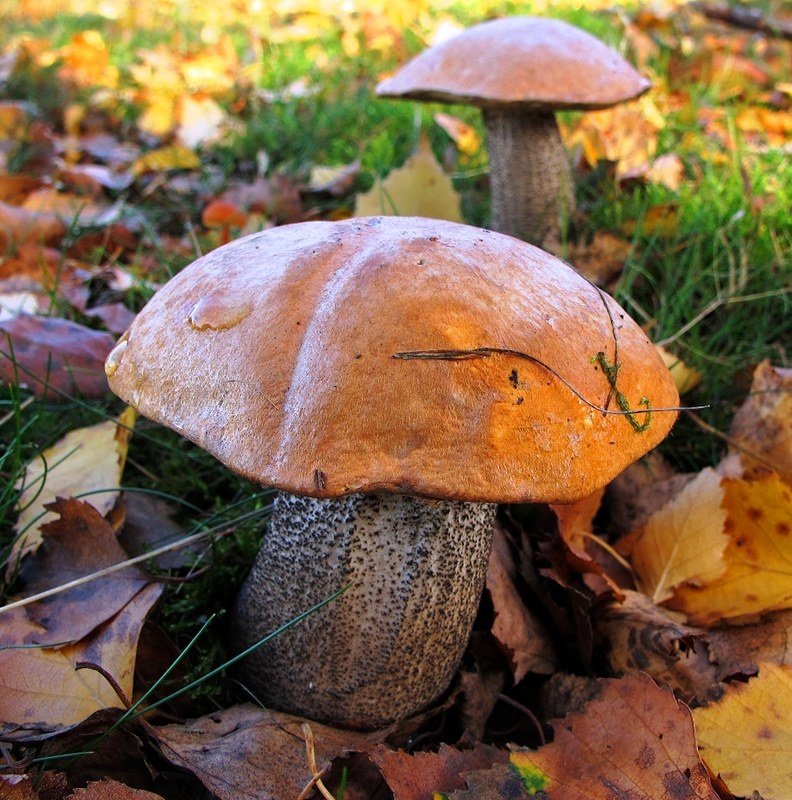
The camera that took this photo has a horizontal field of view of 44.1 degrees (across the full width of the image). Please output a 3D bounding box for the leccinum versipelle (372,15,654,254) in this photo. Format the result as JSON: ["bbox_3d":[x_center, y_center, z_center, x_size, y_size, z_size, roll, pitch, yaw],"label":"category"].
[{"bbox_3d":[0.397,-0.505,2.033,0.520,0.505,0.422,-16,102,-41],"label":"leccinum versipelle"}]
